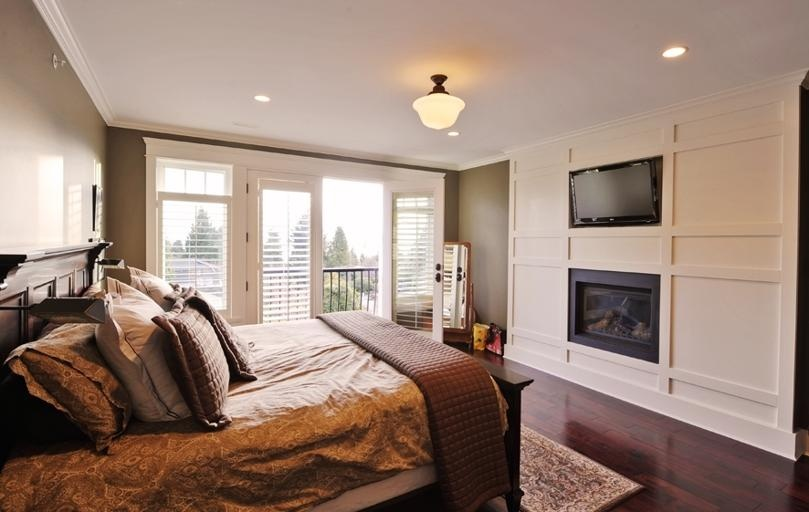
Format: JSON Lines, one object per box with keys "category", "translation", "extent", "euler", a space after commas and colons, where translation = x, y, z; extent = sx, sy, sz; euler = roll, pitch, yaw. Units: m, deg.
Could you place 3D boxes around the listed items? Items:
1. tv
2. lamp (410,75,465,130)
{"category": "tv", "translation": [2.229, -0.668, 5.225], "extent": [0.090, 0.548, 0.820], "euler": [-4, 3, -45]}
{"category": "lamp", "translation": [0.298, -1.346, 4.400], "extent": [0.534, 0.430, 0.505], "euler": [1, 1, 19]}
